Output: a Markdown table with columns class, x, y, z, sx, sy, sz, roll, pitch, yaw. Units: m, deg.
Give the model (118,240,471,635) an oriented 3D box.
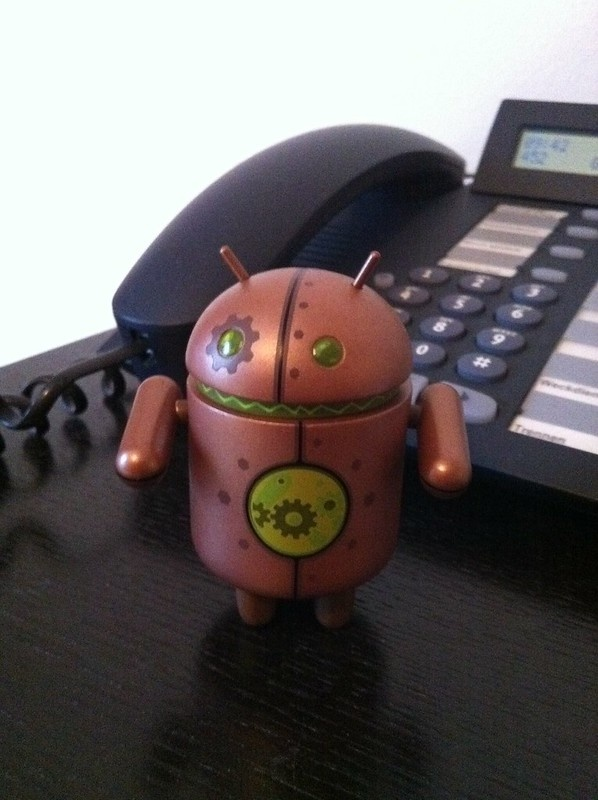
| class | x | y | z | sx | sy | sz | roll | pitch | yaw |
| --- | --- | --- | --- | --- | --- | --- | --- | --- | --- |
| model | -0.009 | 0.018 | 0.250 | 0.088 | 0.124 | 0.075 | 9 | 44 | 18 |
